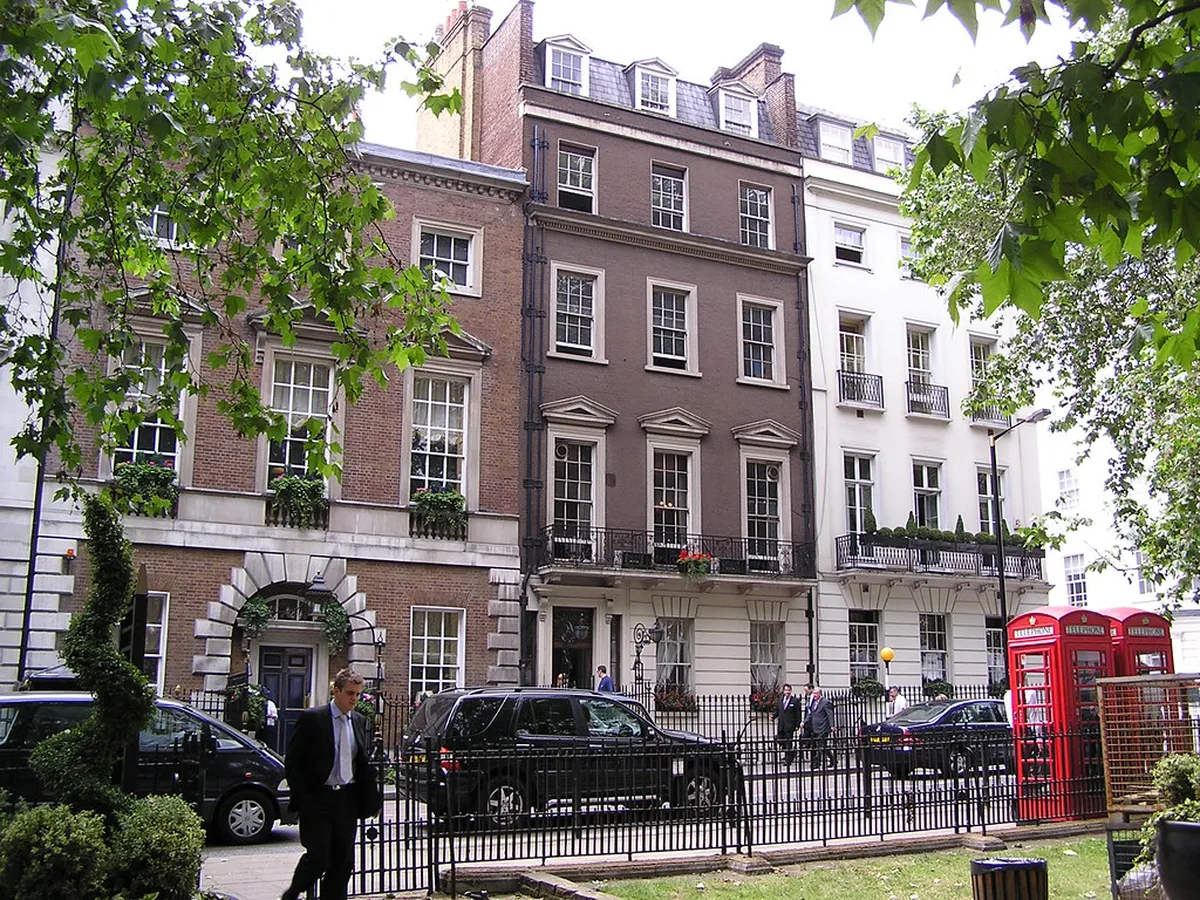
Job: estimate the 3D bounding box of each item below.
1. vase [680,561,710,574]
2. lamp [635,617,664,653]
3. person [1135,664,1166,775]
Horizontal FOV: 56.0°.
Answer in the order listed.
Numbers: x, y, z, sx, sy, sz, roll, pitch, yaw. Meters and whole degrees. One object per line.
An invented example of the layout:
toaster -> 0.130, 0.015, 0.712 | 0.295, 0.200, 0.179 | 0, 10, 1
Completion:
vase -> 2.452, 3.069, 30.074 | 0.759, 0.540, 0.237 | 0, -14, -1
lamp -> 1.197, 4.886, 29.904 | 0.680, 0.996, 0.738 | -4, -9, 27
person -> 7.762, 3.825, 15.797 | 0.363, 1.270, 0.245 | -11, -46, 38
